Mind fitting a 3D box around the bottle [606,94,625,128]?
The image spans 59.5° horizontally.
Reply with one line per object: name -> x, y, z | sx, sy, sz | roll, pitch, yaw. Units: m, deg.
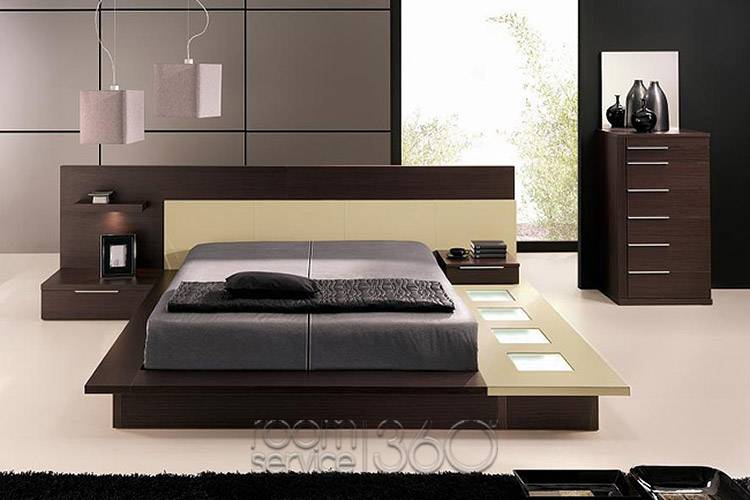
bottle -> 2.070, -1.196, 5.654 | 0.147, 0.279, 0.115 | 1, 9, 10

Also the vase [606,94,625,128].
vase -> 2.070, -1.196, 5.654 | 0.147, 0.279, 0.115 | 1, 9, 10
